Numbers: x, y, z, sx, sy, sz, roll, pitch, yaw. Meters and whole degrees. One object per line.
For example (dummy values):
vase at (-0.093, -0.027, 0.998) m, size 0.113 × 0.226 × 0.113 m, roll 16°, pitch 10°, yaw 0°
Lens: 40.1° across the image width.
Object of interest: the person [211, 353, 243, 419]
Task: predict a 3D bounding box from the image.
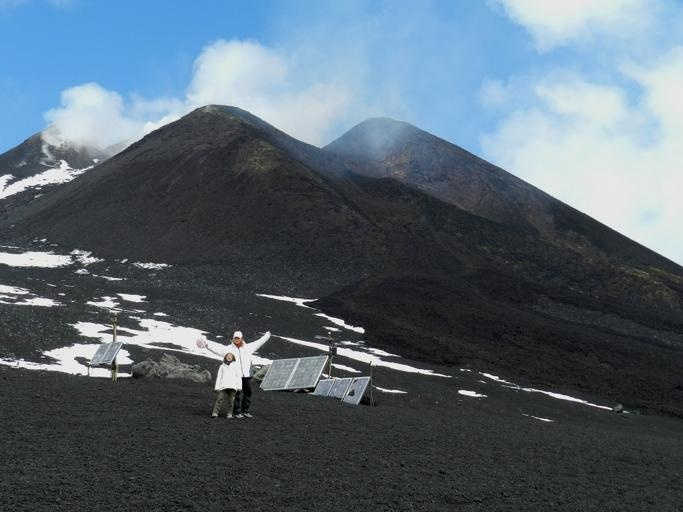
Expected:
person at (-6.005, 6.835, 49.260) m, size 1.375 × 3.448 × 0.987 m, roll 14°, pitch -15°, yaw -17°
